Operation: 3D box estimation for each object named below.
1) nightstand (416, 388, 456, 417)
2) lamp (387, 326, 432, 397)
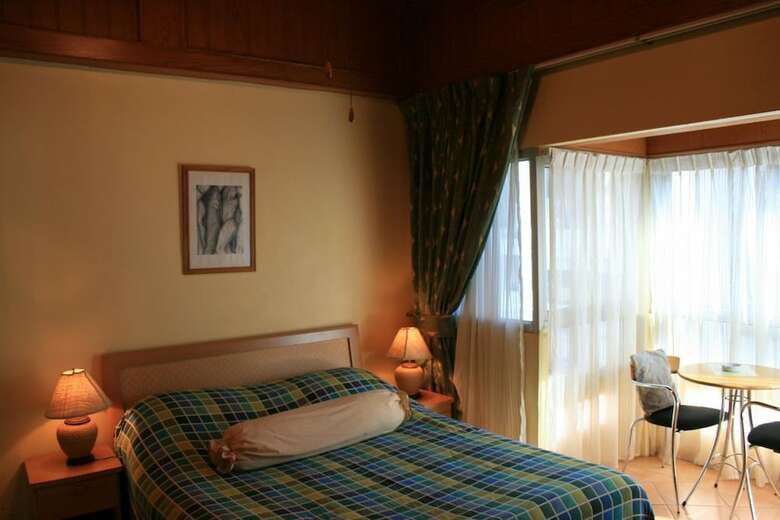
[{"bbox_3d":[0.435,1.377,5.533,0.273,0.268,0.279,7,8,44],"label":"nightstand"},{"bbox_3d":[0.301,0.983,5.723,0.563,0.739,0.579,-2,0,6],"label":"lamp"}]
